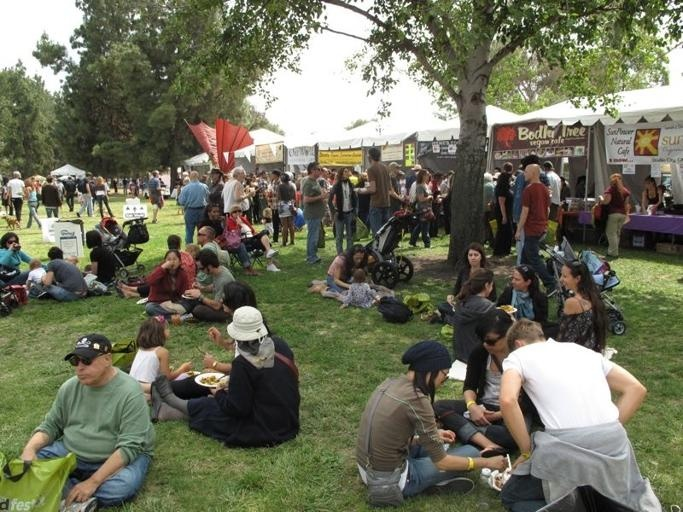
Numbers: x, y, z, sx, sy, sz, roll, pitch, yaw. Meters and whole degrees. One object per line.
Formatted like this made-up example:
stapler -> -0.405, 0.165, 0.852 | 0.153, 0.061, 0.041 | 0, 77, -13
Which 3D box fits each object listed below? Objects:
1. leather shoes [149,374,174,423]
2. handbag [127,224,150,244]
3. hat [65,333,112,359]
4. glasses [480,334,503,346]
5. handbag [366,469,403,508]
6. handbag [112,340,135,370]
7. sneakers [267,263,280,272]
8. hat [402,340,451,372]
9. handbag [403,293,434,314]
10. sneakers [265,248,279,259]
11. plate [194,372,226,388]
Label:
leather shoes -> -1.965, 1.558, 6.057 | 0.206, 0.512, 0.169 | -4, -6, 39
handbag -> -4.580, -0.478, 12.428 | 0.277, 0.547, 0.544 | 1, 8, 28
hat -> -2.141, 0.765, 4.661 | 0.207, 0.174, 0.295 | -10, -12, 33
glasses -> 1.480, 0.839, 5.435 | 0.141, 0.053, 0.108 | -16, -11, -27
handbag -> 0.369, 1.946, 4.629 | 0.319, 0.329, 0.173 | -1, 2, 0
handbag -> -2.573, 1.169, 6.523 | 0.214, 0.344, 0.343 | 0, -7, 10
sneakers -> -1.551, 0.280, 12.358 | 0.344, 0.159, 0.126 | 1, 7, 20
hat -> 0.713, 0.814, 4.603 | 0.325, 0.200, 0.244 | -1, 3, -5
handbag -> 1.300, 0.808, 9.405 | 0.291, 0.187, 0.399 | 7, -2, -6
sneakers -> -1.540, -0.042, 12.169 | 0.143, 0.187, 0.389 | -7, -15, -37
plate -> -1.462, 1.402, 6.252 | 0.392, 0.060, 0.396 | 0, 13, 5
